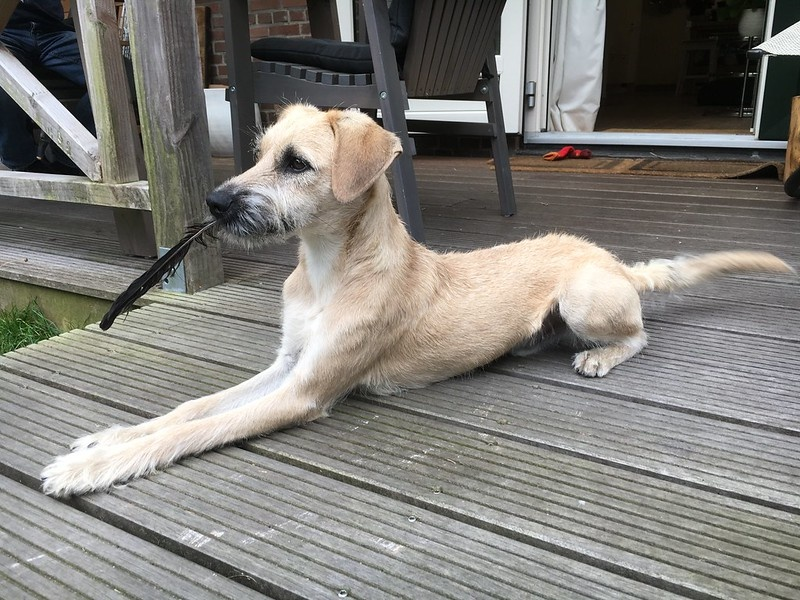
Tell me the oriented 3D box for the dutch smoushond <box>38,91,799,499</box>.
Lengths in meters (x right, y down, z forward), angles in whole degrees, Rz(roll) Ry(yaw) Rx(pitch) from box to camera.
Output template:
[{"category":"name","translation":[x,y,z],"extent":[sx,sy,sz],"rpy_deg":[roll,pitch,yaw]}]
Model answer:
[{"category":"dutch smoushond","translation":[0.170,-0.177,2.222],"extent":[2.765,0.841,0.769],"rpy_deg":[-13,12,-26]}]

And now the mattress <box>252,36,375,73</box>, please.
[{"category":"mattress","translation":[-0.452,-1.332,3.101],"extent":[0.848,0.162,0.244],"rpy_deg":[21,33,37]}]
